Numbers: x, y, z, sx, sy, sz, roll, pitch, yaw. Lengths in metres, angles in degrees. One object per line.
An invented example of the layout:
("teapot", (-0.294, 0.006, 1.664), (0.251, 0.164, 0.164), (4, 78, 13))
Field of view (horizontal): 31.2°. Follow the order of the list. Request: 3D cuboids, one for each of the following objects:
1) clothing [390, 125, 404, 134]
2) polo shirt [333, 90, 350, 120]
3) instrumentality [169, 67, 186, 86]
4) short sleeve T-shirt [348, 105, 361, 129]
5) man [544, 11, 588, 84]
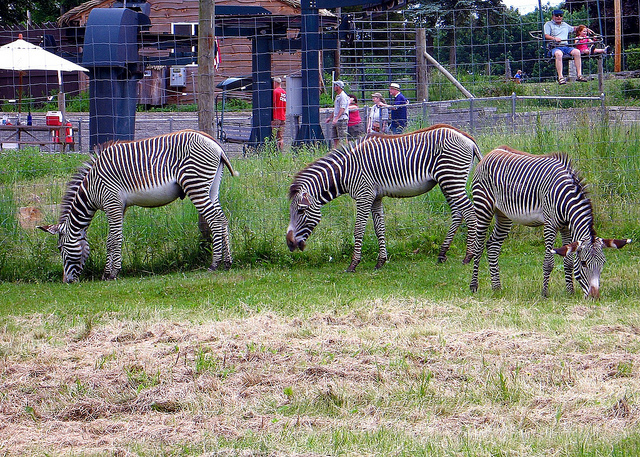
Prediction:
("clothing", (1.852, -2.316, 26.905), (0.325, 0.159, 0.326), (4, -7, -39))
("polo shirt", (0.497, -2.882, 27.093), (0.346, 0.719, 0.544), (1, 5, -12))
("instrumentality", (-5.279, -5.647, 42.545), (0.681, 0.947, 0.575), (0, 3, -2))
("short sleeve T-shirt", (0.856, -2.762, 27.826), (0.367, 0.456, 0.430), (0, 0, -1))
("man", (5.687, -4.241, 26.525), (0.832, 1.771, 1.409), (-3, 4, 5))
